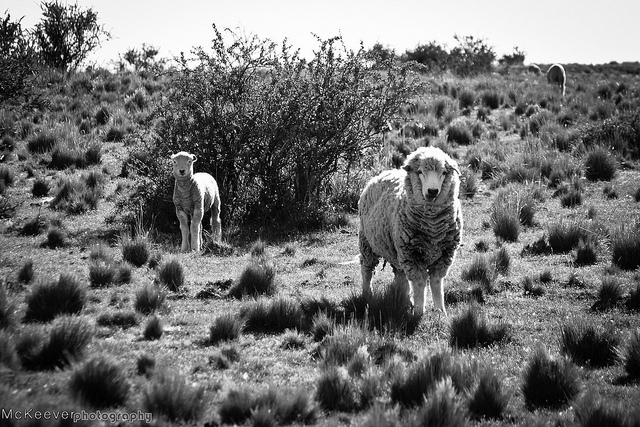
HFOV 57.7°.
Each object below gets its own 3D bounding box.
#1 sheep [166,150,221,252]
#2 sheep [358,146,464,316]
[{"bbox_3d":[-2.821,-0.189,13.473,1.147,2.242,1.837,2,-5,2],"label":"sheep"},{"bbox_3d":[1.473,0.129,9.123,1.371,2.736,2.964,1,-8,-16],"label":"sheep"}]
